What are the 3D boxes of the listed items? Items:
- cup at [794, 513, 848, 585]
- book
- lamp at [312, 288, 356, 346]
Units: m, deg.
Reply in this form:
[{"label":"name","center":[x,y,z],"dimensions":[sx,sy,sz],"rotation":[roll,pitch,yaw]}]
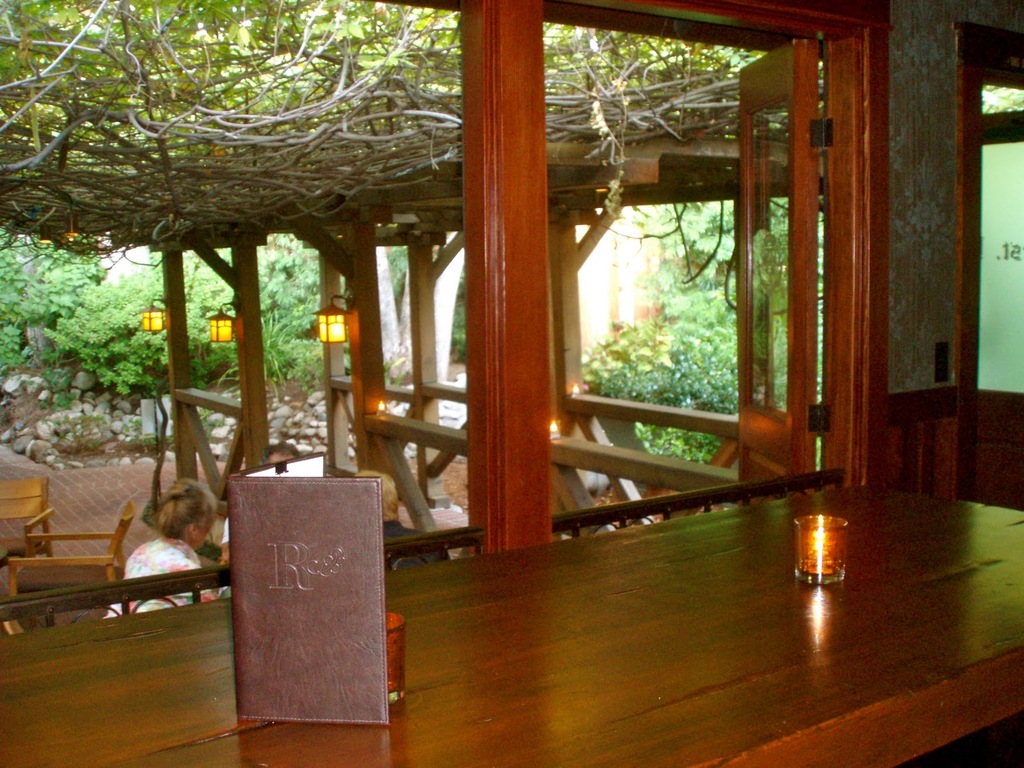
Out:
[{"label":"cup","center":[0.595,0.333,1.596],"dimensions":[0.114,0.117,0.115],"rotation":[6,-22,2]},{"label":"book","center":[-0.265,0.271,1.123],"dimensions":[0.242,0.296,0.185],"rotation":[-2,-1,9]},{"label":"lamp","center":[-1.422,-0.533,6.556],"dimensions":[0.270,0.404,0.990],"rotation":[-2,5,-12]}]
